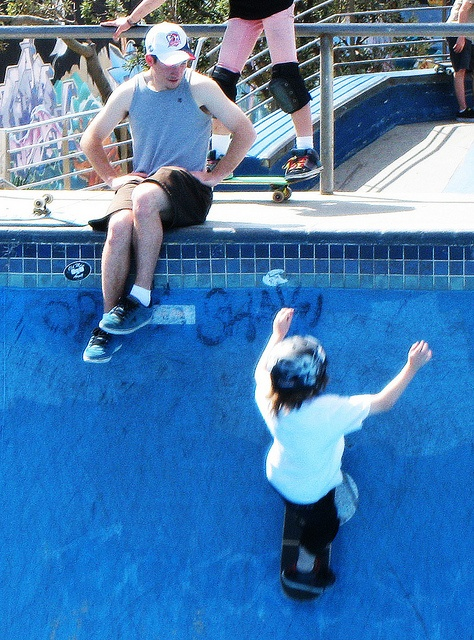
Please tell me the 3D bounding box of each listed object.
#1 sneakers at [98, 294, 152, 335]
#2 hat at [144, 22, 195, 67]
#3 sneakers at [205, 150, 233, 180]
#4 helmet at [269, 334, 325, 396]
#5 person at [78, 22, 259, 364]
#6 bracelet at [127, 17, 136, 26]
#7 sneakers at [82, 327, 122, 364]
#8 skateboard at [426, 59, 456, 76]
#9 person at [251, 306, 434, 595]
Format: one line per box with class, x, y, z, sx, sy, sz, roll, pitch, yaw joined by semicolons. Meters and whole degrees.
sneakers;-0.407;-0.020;2.390;0.093;0.113;0.245;36;24;10
hat;-0.275;-1.149;2.574;0.147;0.124;0.231;-19;47;-19
sneakers;-0.135;-0.901;3.577;0.111;0.153;0.340;-5;9;-17
helmet;0.229;0.150;2.126;0.140;0.181;0.187;11;6;20
person;-0.412;-0.658;2.661;0.629;1.174;0.859;12;20;36
bracelet;-0.560;-1.594;3.303;0.027;0.009;0.029;-6;-17;40
sneakers;-0.522;0.099;2.425;0.072;0.090;0.202;19;9;2
skateboard;2.191;-2.687;6.492;0.238;0.131;0.346;10;13;30
person;0.414;0.533;2.300;0.617;1.034;0.447;20;36;31
